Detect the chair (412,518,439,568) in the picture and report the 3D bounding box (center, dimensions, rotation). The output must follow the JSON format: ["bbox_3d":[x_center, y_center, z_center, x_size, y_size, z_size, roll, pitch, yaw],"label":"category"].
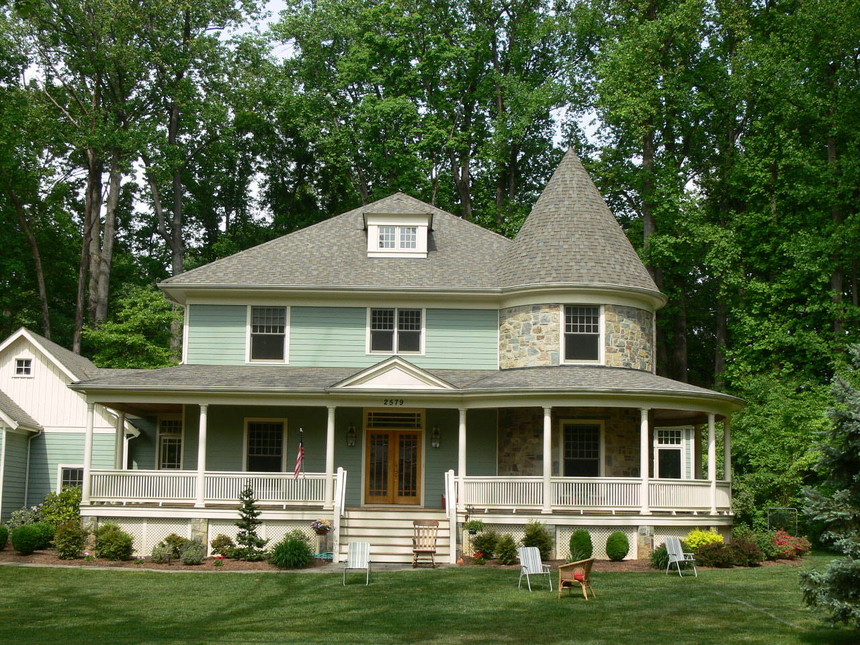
[{"bbox_3d":[-0.150,7.107,36.467,0.766,1.446,1.917,-1,-15,0],"label":"chair"}]

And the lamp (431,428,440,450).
[{"bbox_3d":[0.238,4.223,41.772,0.399,0.791,0.140,-1,-15,0],"label":"lamp"}]

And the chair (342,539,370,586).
[{"bbox_3d":[-2.109,7.014,33.142,0.814,1.099,0.873,1,2,-8],"label":"chair"}]

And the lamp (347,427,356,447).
[{"bbox_3d":[-2.849,4.154,41.694,0.338,0.729,0.132,1,-15,-8],"label":"lamp"}]
